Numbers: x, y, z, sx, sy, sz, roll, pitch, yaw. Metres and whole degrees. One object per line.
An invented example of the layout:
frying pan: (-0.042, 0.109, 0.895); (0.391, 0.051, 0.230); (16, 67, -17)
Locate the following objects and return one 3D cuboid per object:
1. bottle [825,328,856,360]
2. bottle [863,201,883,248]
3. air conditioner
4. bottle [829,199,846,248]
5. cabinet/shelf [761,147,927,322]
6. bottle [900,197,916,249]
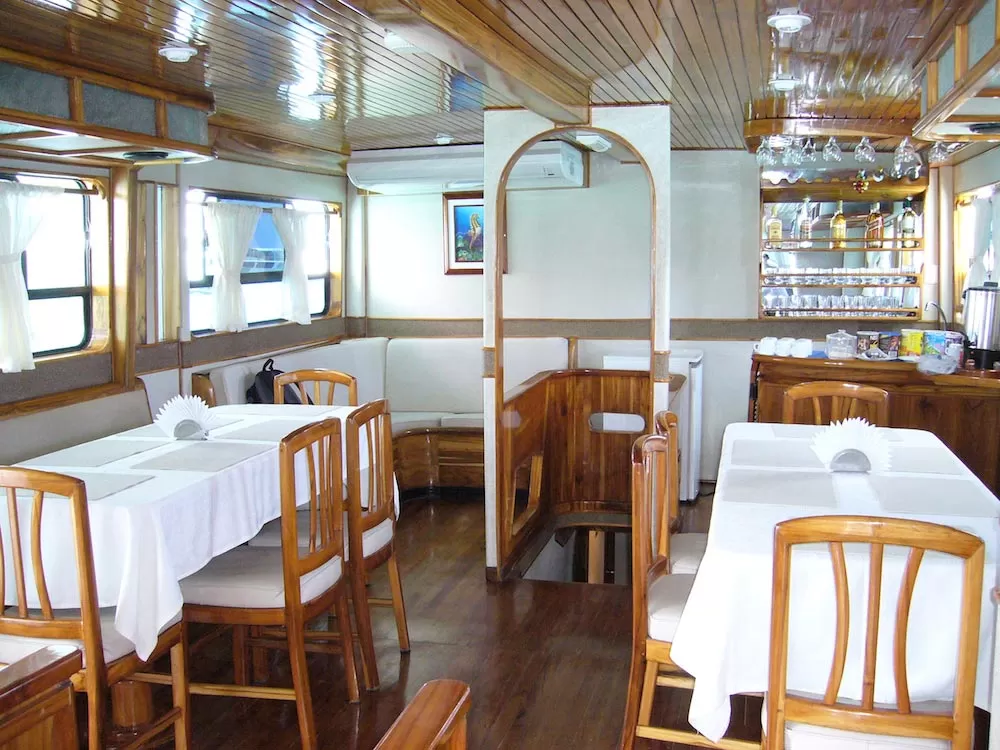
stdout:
bottle: (2.480, -0.206, 5.609); (0.239, 0.207, 0.181); (0, 0, -40)
bottle: (3.116, -1.236, 6.429); (0.140, 0.373, 0.173); (3, 10, 24)
air conditioner: (-0.226, -1.908, 7.041); (1.895, 0.397, 1.287); (0, 18, 13)
bottle: (2.832, -1.238, 6.440); (0.135, 0.390, 0.129); (-1, 9, 0)
cabinet/shelf: (2.871, -1.176, 6.321); (1.413, 1.381, 0.464); (0, 0, 7)
bottle: (3.369, -1.234, 6.352); (0.152, 0.393, 0.147); (-1, 9, 0)
